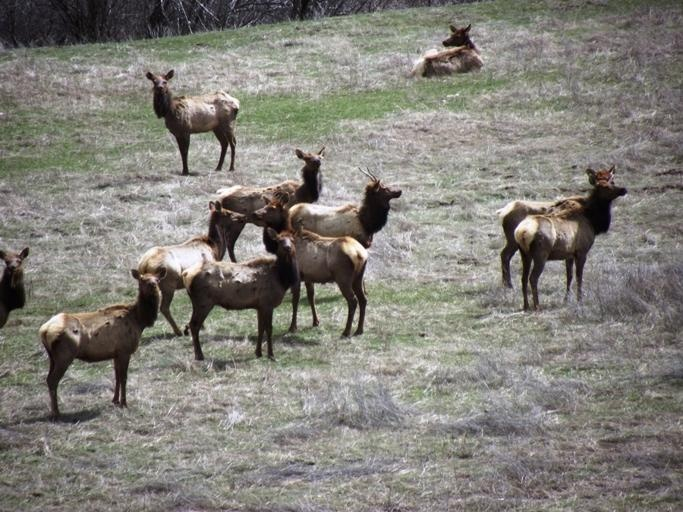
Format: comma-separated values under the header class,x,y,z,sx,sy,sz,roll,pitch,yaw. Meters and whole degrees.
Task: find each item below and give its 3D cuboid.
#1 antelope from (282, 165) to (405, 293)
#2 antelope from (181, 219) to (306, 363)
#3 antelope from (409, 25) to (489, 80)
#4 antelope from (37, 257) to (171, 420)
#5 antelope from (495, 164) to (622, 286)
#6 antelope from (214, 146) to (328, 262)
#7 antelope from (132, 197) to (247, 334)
class,x,y,z,sx,sy,sz,roll,pitch,yaw
antelope,-0.689,0.227,22.670,2.507,2.600,1.031,5,7,22
antelope,-1.805,0.755,21.351,2.021,2.054,0.852,-1,13,-9
antelope,3.305,-6.172,35.439,1.742,1.480,2.337,10,16,35
antelope,-4.039,1.470,19.929,2.061,2.459,1.004,-3,4,-23
antelope,4.277,-0.920,24.533,2.176,2.598,2.019,1,12,4
antelope,-1.399,-1.064,24.933,2.694,2.378,0.857,-5,-3,26
antelope,-2.893,0.276,22.556,1.001,2.675,3.416,18,29,35
